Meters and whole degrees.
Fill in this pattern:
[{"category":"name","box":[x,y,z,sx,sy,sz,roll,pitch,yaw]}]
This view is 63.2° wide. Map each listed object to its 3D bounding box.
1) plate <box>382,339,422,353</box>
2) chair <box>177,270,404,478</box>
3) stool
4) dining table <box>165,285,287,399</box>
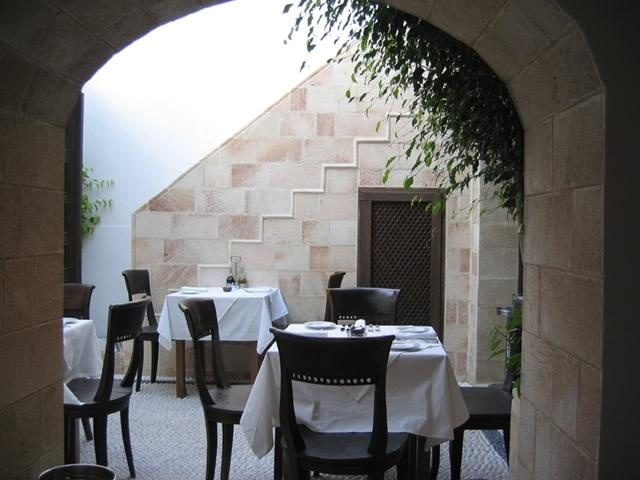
[{"category":"plate","box":[0.409,0.534,2.591,0.113,0.018,0.122,-3,6,-18]},{"category":"chair","box":[-0.191,0.811,3.150,0.750,1.422,0.899,0,4,-3]},{"category":"stool","box":[0.905,1.147,2.942,0.322,0.383,0.595,1,-2,21]},{"category":"dining table","box":[-0.890,0.856,4.771,0.883,0.775,0.956,0,1,3]}]
